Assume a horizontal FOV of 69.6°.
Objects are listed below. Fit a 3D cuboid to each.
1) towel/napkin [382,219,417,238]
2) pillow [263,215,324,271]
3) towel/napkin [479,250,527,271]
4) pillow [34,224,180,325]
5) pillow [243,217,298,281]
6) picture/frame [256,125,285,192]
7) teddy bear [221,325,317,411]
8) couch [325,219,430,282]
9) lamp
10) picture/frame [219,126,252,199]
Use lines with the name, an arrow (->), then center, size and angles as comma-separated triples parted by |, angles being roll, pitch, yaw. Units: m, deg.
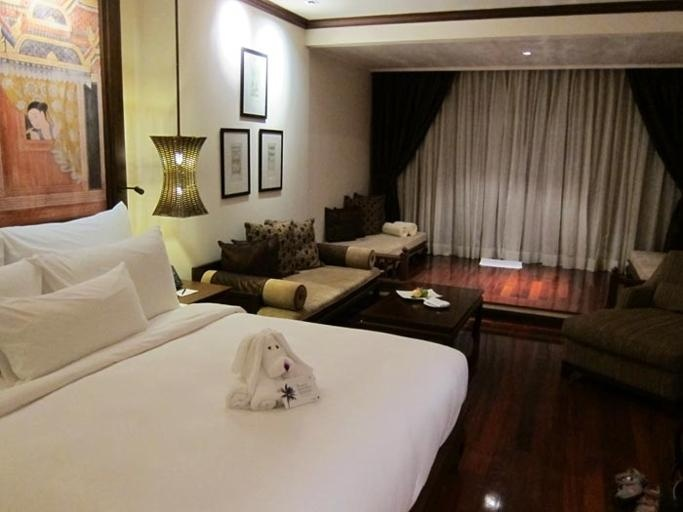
towel/napkin -> 0.807, -0.392, 7.038 | 0.296, 0.132, 0.300 | 10, 12, 39
pillow -> -0.503, -0.118, 4.972 | 0.185, 0.435, 0.554 | 9, 13, 32
towel/napkin -> 2.321, 0.091, 7.127 | 0.616, 0.085, 0.626 | 6, 12, 18
pillow -> -1.370, 0.116, 2.832 | 0.152, 0.349, 0.514 | -24, -2, 27
pillow -> -0.672, -0.052, 4.588 | 0.190, 0.580, 0.559 | -3, 1, 30
picture/frame -> -0.768, -1.046, 5.198 | 0.073, 0.855, 0.671 | 4, 5, 21
teddy bear -> -0.328, 0.540, 2.329 | 0.410, 0.356, 0.275 | 1, 3, -27
couch -> 0.627, -0.111, 6.311 | 0.675, 0.549, 1.288 | 10, 23, 25
lamp -> -1.275, -1.136, 3.851 | 0.406, 1.748, 0.832 | -2, 13, -17
picture/frame -> -1.032, -0.914, 4.727 | 0.048, 0.832, 0.629 | 4, 7, 23
